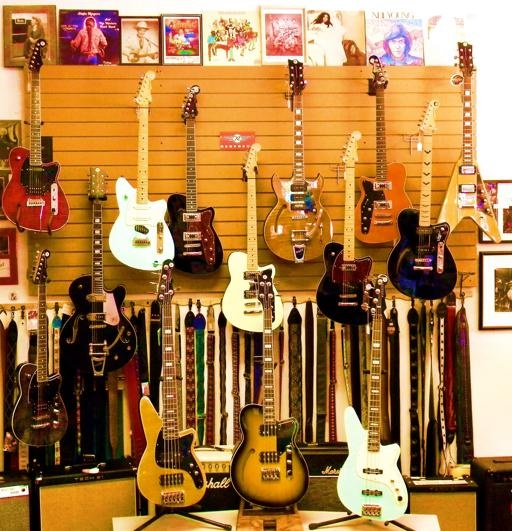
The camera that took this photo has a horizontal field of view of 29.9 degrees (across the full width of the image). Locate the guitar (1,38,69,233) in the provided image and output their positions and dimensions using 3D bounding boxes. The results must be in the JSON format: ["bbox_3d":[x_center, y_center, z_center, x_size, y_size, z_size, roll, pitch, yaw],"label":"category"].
[{"bbox_3d":[-1.321,-0.763,5.663,0.383,1.114,0.121,-3,8,-17],"label":"guitar"}]

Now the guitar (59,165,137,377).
[{"bbox_3d":[-0.958,0.030,5.740,0.451,1.195,0.233,-2,8,-10],"label":"guitar"}]

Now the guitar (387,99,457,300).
[{"bbox_3d":[1.009,-0.399,5.814,0.412,1.177,0.210,1,8,10],"label":"guitar"}]

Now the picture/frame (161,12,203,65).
[{"bbox_3d":[-0.470,-1.401,5.933,0.221,0.356,0.025,0,-3,-5],"label":"picture/frame"}]

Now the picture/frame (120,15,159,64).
[{"bbox_3d":[-0.736,-1.396,5.931,0.214,0.342,0.019,0,-6,-3],"label":"picture/frame"}]

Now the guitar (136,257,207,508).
[{"bbox_3d":[-0.507,0.678,5.311,0.354,1.315,0.365,-8,11,-41],"label":"guitar"}]

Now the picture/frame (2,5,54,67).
[{"bbox_3d":[-1.409,-1.396,5.854,0.300,0.491,0.031,0,-4,-4],"label":"picture/frame"}]

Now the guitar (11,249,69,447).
[{"bbox_3d":[-1.229,0.497,5.467,0.298,1.354,0.119,-2,33,-16],"label":"guitar"}]

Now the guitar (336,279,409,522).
[{"bbox_3d":[0.650,0.725,5.359,0.380,1.290,0.358,0,8,7],"label":"guitar"}]
